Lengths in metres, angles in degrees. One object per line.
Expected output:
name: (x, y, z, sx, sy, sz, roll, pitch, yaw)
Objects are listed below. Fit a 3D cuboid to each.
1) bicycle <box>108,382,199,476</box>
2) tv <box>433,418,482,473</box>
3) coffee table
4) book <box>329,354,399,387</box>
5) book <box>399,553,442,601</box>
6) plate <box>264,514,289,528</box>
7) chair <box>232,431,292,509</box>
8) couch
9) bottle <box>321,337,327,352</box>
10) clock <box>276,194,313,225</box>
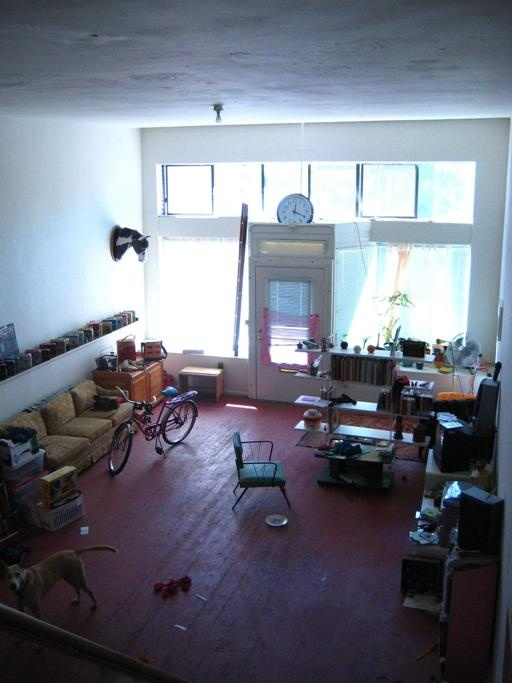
bicycle: (-1.647, 1.296, 8.292, 0.538, 1.153, 1.815, 22, 26, 35)
tv: (2.370, 1.276, 6.290, 0.329, 0.471, 0.634, 3, -3, 11)
coffee table: (1.395, 1.690, 7.267, 1.019, 0.544, 0.673, 2, 12, 12)
book: (1.456, 0.376, 7.242, 0.678, 0.237, 0.511, 6, 14, 20)
book: (1.566, 2.242, 4.930, 0.387, 0.429, 0.104, -6, 13, 13)
plate: (0.246, 2.159, 6.251, 0.283, 0.037, 0.314, 1, 12, 3)
chair: (0.053, 1.627, 6.578, 0.661, 0.830, 0.700, -1, 9, 2)
couch: (-2.780, 1.206, 7.750, 0.957, 0.876, 2.016, 11, 24, 14)
bottle: (0.950, 0.051, 7.294, 0.076, 0.180, 0.106, 1, 11, 5)
clock: (0.699, -2.386, 9.404, 0.652, 0.546, 0.157, 5, 13, 25)
